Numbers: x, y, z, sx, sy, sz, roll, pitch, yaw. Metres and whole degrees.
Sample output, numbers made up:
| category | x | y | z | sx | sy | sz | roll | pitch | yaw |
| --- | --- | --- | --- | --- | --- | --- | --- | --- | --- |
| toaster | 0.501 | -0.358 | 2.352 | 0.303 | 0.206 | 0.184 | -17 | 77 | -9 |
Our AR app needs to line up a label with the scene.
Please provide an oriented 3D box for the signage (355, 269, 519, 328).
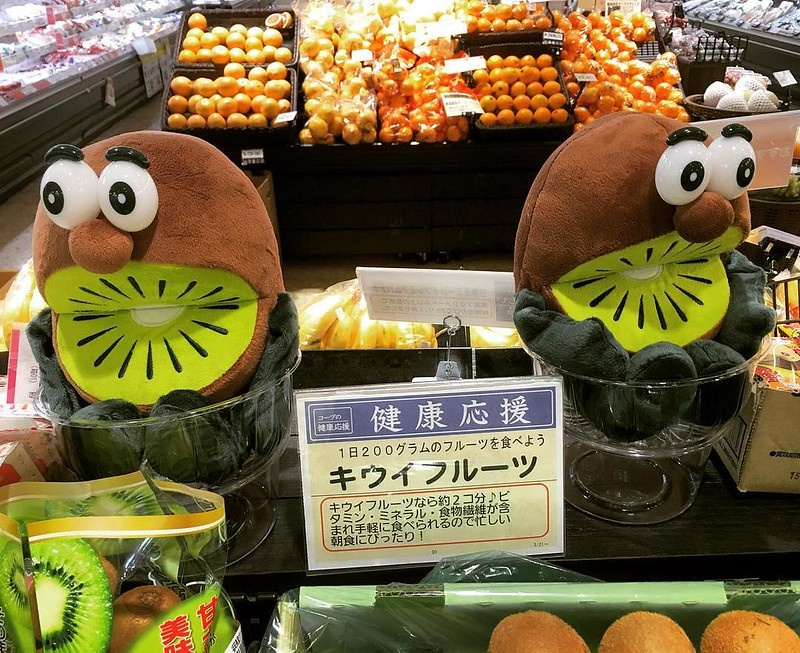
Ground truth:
| category | x | y | z | sx | sy | sz | roll | pitch | yaw |
| --- | --- | --- | --- | --- | --- | --- | --- | --- | --- |
| signage | 0.075 | -0.064 | 1.465 | 0.348 | 0.159 | 0.100 | -1 | 20 | 20 |

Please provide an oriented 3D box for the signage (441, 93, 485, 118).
| category | x | y | z | sx | sy | sz | roll | pitch | yaw |
| --- | --- | --- | --- | --- | --- | --- | --- | --- | --- |
| signage | 0.279 | -1.004 | 3.225 | 0.157 | 0.162 | 0.039 | 2 | -30 | -22 |

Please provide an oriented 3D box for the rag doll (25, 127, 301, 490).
| category | x | y | z | sx | sy | sz | roll | pitch | yaw |
| --- | --- | --- | --- | --- | --- | --- | --- | --- | --- |
| rag doll | -0.414 | -0.019 | 1.275 | 0.487 | 0.632 | 0.471 | -5 | 11 | -8 |

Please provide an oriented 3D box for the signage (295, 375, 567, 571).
| category | x | y | z | sx | sy | sz | roll | pitch | yaw |
| --- | --- | --- | --- | --- | --- | --- | --- | --- | --- |
| signage | 0.049 | 0.235 | 1.126 | 0.306 | 0.217 | 0.041 | -3 | 11 | 1 |

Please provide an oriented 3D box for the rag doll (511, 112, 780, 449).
| category | x | y | z | sx | sy | sz | roll | pitch | yaw |
| --- | --- | --- | --- | --- | --- | --- | --- | --- | --- |
| rag doll | 0.432 | -0.103 | 1.294 | 0.497 | 0.551 | 0.393 | -9 | 12 | -23 |
